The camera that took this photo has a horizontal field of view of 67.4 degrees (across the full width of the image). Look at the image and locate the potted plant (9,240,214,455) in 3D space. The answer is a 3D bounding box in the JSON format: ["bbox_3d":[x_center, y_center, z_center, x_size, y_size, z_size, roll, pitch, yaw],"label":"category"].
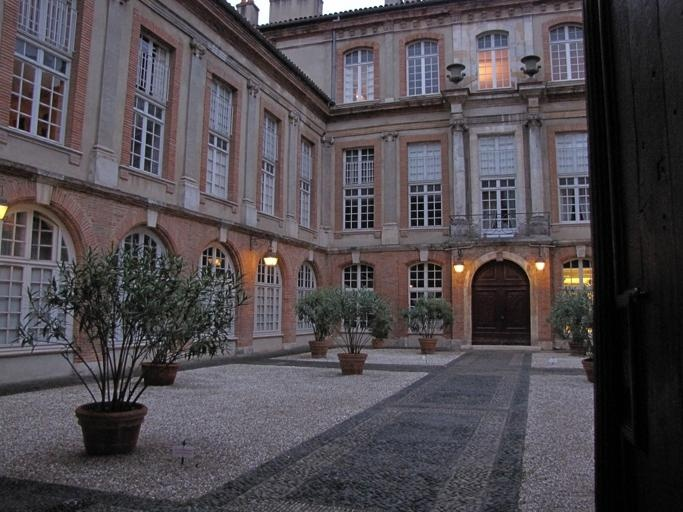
[{"bbox_3d":[-3.617,1.425,7.752,2.752,3.304,2.895,0,-1,3],"label":"potted plant"}]

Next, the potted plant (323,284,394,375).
[{"bbox_3d":[0.300,1.893,14.134,1.776,2.474,2.111,-4,2,-18],"label":"potted plant"}]

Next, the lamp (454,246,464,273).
[{"bbox_3d":[5.183,0.179,22.577,0.469,1.065,0.488,-3,-4,13],"label":"lamp"}]

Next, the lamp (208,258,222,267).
[{"bbox_3d":[-3.724,0.176,15.042,0.293,0.226,0.289,4,-5,-44],"label":"lamp"}]

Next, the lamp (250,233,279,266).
[{"bbox_3d":[-2.793,-0.239,19.426,1.439,1.435,0.615,-4,-5,36],"label":"lamp"}]

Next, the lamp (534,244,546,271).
[{"bbox_3d":[8.430,0.089,21.770,0.422,1.134,0.336,-4,-5,22],"label":"lamp"}]

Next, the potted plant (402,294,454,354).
[{"bbox_3d":[3.644,2.693,20.654,1.789,2.132,2.723,-4,-5,22],"label":"potted plant"}]
